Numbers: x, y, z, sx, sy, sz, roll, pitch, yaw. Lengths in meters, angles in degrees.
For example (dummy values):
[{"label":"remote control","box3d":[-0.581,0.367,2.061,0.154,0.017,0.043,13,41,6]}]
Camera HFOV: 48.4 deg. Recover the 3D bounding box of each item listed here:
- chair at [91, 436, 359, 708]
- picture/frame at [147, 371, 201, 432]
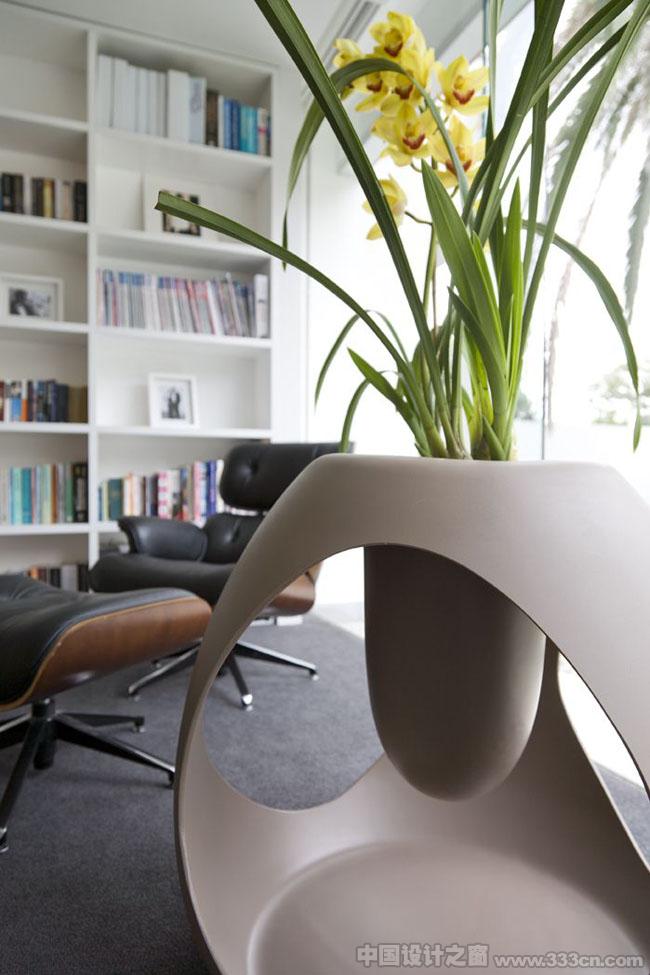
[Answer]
[{"label":"chair","box3d":[-0.298,0.152,2.143,0.625,0.888,0.696,0,0,37]},{"label":"picture/frame","box3d":[-0.676,-0.368,3.142,0.241,0.337,0.031,3,-18,-37]}]
